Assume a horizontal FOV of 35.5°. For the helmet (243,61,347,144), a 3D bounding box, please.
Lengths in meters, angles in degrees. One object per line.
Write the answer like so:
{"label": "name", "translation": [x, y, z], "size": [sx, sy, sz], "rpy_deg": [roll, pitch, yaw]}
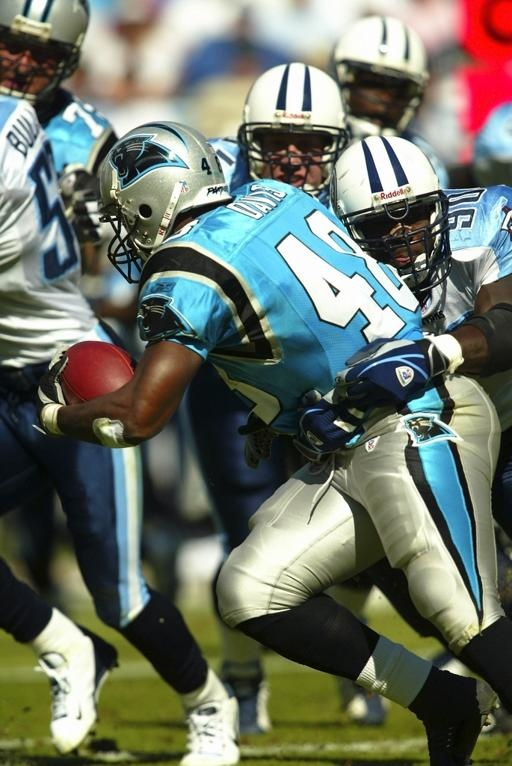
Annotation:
{"label": "helmet", "translation": [0.135, -1.017, 2.794], "size": [0.294, 0.277, 0.342], "rpy_deg": [-3, 35, 1]}

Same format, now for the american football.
{"label": "american football", "translation": [-0.320, -0.049, 1.767], "size": [0.150, 0.100, 0.173], "rpy_deg": [5, 10, 4]}

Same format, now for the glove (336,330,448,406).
{"label": "glove", "translation": [0.271, -0.017, 1.623], "size": [0.219, 0.118, 0.084], "rpy_deg": [-29, -10, 6]}

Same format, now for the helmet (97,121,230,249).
{"label": "helmet", "translation": [-0.209, -0.464, 1.844], "size": [0.306, 0.321, 0.152], "rpy_deg": [4, -15, -3]}

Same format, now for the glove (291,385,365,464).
{"label": "glove", "translation": [0.154, 0.079, 1.732], "size": [0.167, 0.151, 0.112], "rpy_deg": [1, 50, -3]}
